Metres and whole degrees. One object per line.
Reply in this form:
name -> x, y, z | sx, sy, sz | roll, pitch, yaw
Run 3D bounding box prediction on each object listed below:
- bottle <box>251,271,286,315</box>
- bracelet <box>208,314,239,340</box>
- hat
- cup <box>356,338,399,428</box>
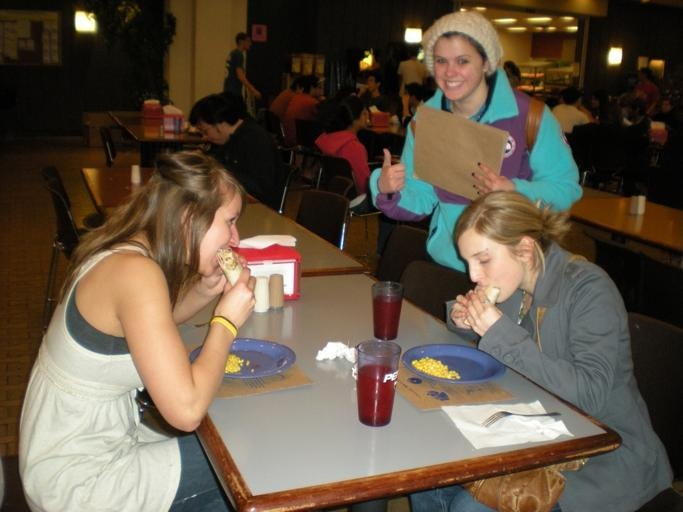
bottle -> -0.260, 0.136, 1.831 | 0.132, 0.125, 0.066 | -7, 14, -44
bracelet -> -0.304, 0.178, 1.336 | 0.059, 0.016, 0.061 | 37, -14, 0
hat -> 0.507, -0.916, 2.186 | 0.334, 0.276, 0.250 | 4, 14, 7
cup -> 0.087, 0.303, 1.278 | 0.102, 0.169, 0.167 | 3, 14, 5
